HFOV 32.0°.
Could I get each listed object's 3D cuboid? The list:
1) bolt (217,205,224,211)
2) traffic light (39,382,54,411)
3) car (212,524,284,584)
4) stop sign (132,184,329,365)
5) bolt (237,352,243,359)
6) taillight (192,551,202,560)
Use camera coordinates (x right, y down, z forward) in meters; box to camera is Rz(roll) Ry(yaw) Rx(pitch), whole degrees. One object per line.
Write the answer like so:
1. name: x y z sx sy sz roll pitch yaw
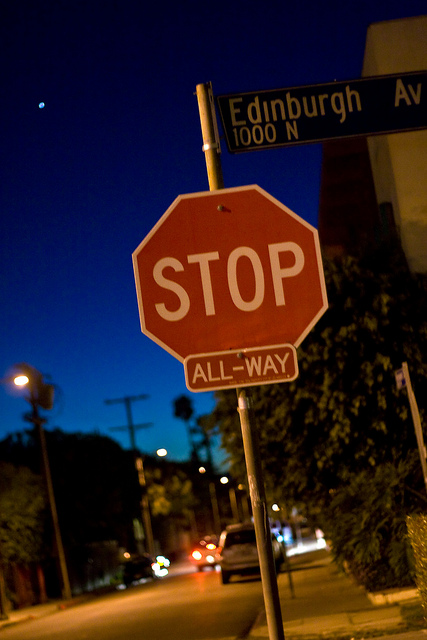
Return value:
1. bolt: 0.031 -0.482 3.222 0.021 0.025 0.009 -13 4 -20
2. traffic light: -2.214 1.003 9.902 0.195 0.407 0.332 -2 -14 -14
3. car: 0.763 7.211 22.887 1.203 1.532 1.796 -6 -14 -1
4. stop sign: 0.070 -0.160 3.059 0.651 0.741 0.061 -4 -28 -3
5. bolt: 0.105 0.142 2.956 0.020 0.024 0.005 -3 -2 19
6. taillight: -0.679 10.135 32.135 0.275 0.389 0.085 -33 -16 16
